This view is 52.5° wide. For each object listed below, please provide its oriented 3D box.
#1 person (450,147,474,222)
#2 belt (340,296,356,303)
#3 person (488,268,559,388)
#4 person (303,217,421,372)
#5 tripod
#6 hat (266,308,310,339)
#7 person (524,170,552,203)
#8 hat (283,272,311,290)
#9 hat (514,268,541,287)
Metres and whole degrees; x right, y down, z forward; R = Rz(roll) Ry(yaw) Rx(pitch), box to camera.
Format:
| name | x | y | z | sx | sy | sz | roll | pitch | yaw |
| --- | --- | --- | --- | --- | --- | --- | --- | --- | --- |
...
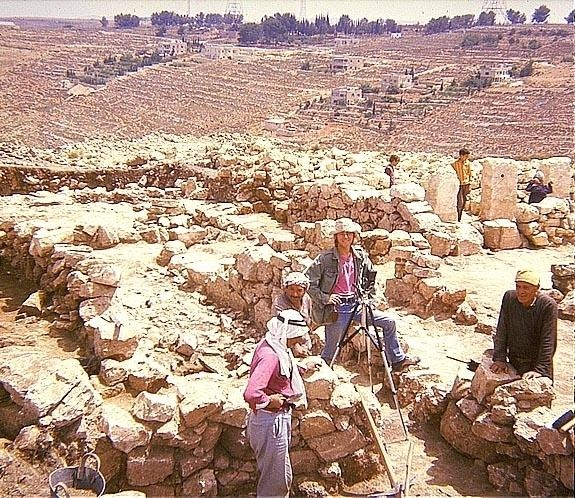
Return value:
| name | x | y | z | sx | sy | sz | roll | pitch | yaw |
| --- | --- | --- | --- | --- | --- | --- | --- | --- | --- |
| person | 2.911 | -1.083 | 9.815 | 0.308 | 1.224 | 0.564 | 4 | 19 | 15 |
| belt | 0.637 | 0.529 | 6.139 | 0.090 | 0.063 | 0.112 | -1 | -3 | -4 |
| person | 2.302 | 0.726 | 5.583 | 0.564 | 1.072 | 0.338 | 6 | 19 | 19 |
| person | 0.717 | 0.547 | 6.212 | 1.041 | 1.781 | 0.416 | -6 | 19 | -15 |
| tripod | 0.887 | 1.136 | 6.055 | 0.924 | 1.227 | 0.875 | -5 | 4 | -29 |
| hat | 0.012 | 0.619 | 4.834 | 0.291 | 0.133 | 0.207 | 9 | 22 | 11 |
| person | 4.476 | -1.084 | 10.358 | 0.440 | 0.477 | 0.790 | 7 | 19 | 23 |
| hat | 0.077 | 0.289 | 5.349 | 0.215 | 0.153 | 0.207 | -3 | 17 | -6 |
| hat | 2.284 | 0.274 | 5.487 | 0.257 | 0.159 | 0.199 | -1 | 17 | -1 |
